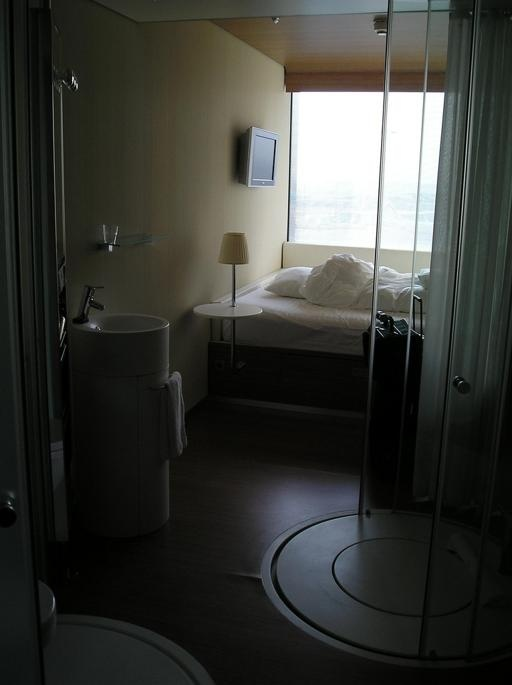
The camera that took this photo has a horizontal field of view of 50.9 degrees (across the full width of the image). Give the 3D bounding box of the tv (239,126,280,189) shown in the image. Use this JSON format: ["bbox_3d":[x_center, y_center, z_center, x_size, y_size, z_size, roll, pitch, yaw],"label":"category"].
[{"bbox_3d":[0.030,-1.515,4.429,0.147,0.468,0.729,2,10,17],"label":"tv"}]

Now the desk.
[{"bbox_3d":[-0.189,-0.031,3.594,0.393,0.454,0.479,3,9,19],"label":"desk"}]

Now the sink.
[{"bbox_3d":[-0.540,0.017,2.124,0.221,0.164,0.281,3,12,4],"label":"sink"}]

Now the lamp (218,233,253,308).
[{"bbox_3d":[-0.166,-0.537,3.837,0.189,0.494,0.469,-1,9,-4],"label":"lamp"}]

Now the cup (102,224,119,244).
[{"bbox_3d":[-0.660,-0.495,2.447,0.037,0.086,0.136,0,10,4],"label":"cup"}]

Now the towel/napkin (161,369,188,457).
[{"bbox_3d":[-0.333,0.294,2.259,0.035,0.276,0.240,-12,0,4],"label":"towel/napkin"}]
